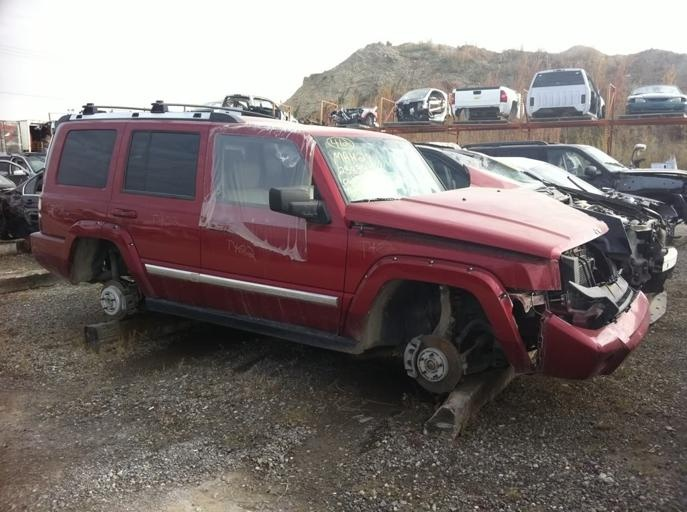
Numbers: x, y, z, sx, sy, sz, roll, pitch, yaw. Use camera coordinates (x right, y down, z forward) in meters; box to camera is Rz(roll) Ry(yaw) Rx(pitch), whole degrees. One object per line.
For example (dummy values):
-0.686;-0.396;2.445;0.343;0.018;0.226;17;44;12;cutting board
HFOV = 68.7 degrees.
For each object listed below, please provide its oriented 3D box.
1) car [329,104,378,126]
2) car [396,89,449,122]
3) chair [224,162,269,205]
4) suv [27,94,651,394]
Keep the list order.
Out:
0.377;-5.497;19.840;1.868;0.615;1.268;-2;20;-4;car
3.079;-6.015;19.834;1.660;1.143;2.586;10;19;34;car
-0.938;-0.677;4.719;0.406;0.515;0.460;-8;28;-14;chair
-0.603;-0.364;5.557;6.450;2.323;2.689;7;21;22;suv
